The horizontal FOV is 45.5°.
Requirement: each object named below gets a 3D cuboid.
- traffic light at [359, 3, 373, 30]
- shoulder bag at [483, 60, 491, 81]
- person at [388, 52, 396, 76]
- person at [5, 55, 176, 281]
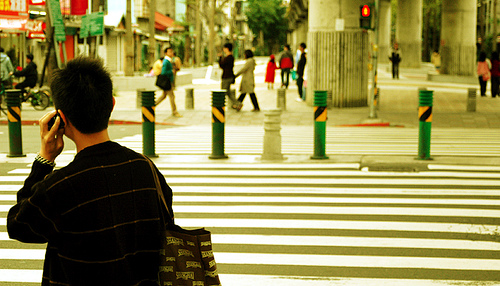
[{"bbox_3d":[4.194,-4.506,21.572,0.451,0.867,0.374,1,11,8],"label":"traffic light"},{"bbox_3d":[11.219,-3.373,28.220,0.269,0.941,0.862,4,12,22],"label":"shoulder bag"},{"bbox_3d":[10.172,-5.573,42.486,0.427,1.676,1.004,1,11,9],"label":"person"},{"bbox_3d":[-1.568,0.272,5.845,1.535,2.124,0.593,-2,11,-9],"label":"person"}]
